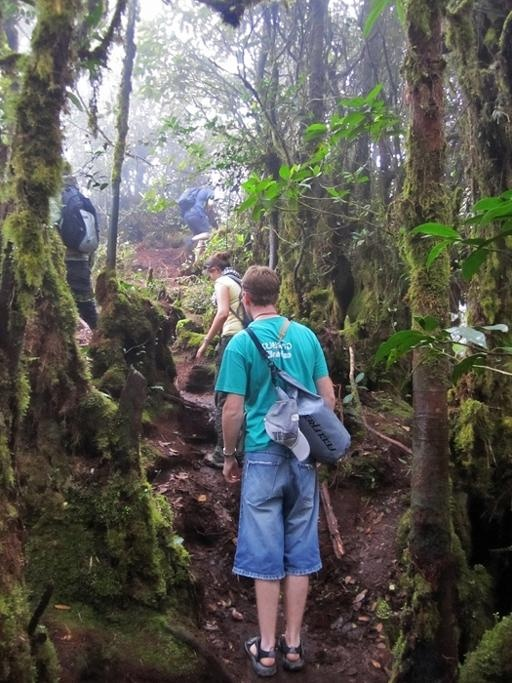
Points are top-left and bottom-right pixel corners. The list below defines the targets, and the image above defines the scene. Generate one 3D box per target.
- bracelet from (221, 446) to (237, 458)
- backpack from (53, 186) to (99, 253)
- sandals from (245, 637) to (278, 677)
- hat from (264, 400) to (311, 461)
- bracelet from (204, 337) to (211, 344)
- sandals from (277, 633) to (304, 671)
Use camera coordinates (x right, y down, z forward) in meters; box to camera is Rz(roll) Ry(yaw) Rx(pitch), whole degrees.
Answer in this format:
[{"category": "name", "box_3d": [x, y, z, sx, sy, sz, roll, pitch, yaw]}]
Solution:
[{"category": "bracelet", "box_3d": [-0.170, 0.691, 3.718, 0.106, 0.053, 0.124, -2, -33, 4]}, {"category": "backpack", "box_3d": [-1.785, -1.258, 5.733, 0.299, 0.690, 0.763, 1, -4, -4]}, {"category": "sandals", "box_3d": [0.027, 1.847, 3.432, 0.184, 0.185, 0.302, 1, -4, 0]}, {"category": "hat", "box_3d": [0.181, 0.508, 3.298, 0.152, 0.339, 0.203, -31, 12, 22]}, {"category": "bracelet", "box_3d": [-0.463, -0.005, 5.617, 0.047, 0.062, 0.024, -10, 39, -23]}, {"category": "sandals", "box_3d": [0.212, 1.856, 3.479, 0.160, 0.213, 0.238, 1, -4, 3]}]
